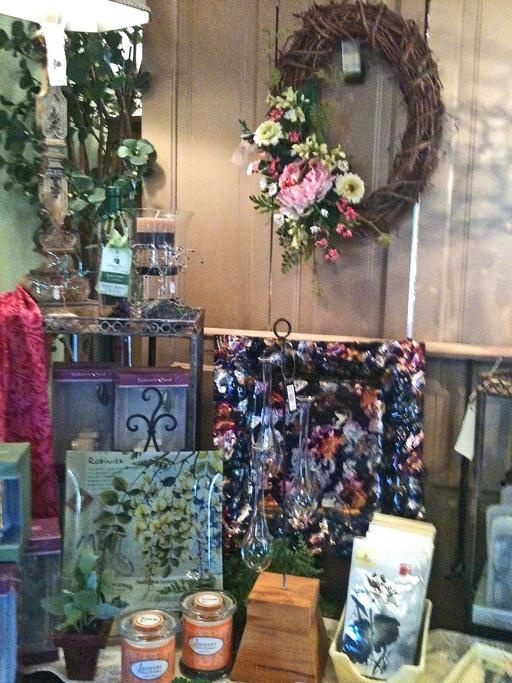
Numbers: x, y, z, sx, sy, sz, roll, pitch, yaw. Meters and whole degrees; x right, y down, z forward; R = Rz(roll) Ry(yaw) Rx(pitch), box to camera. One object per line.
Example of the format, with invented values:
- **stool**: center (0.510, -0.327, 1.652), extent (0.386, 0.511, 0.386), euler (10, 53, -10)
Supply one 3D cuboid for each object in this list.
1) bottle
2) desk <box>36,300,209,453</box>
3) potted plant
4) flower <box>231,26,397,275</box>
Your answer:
- **bottle**: center (-0.156, 0.568, 1.190), extent (0.172, 0.107, 0.173), euler (-1, 5, 0)
- **desk**: center (-0.288, 0.126, 1.616), extent (0.478, 0.441, 0.339), euler (1, -1, -1)
- **potted plant**: center (-0.349, 0.556, 1.245), extent (0.154, 0.266, 0.184), euler (-1, 6, -15)
- **flower**: center (0.129, -0.492, 1.647), extent (0.452, 0.597, 0.222), euler (2, 6, 17)
